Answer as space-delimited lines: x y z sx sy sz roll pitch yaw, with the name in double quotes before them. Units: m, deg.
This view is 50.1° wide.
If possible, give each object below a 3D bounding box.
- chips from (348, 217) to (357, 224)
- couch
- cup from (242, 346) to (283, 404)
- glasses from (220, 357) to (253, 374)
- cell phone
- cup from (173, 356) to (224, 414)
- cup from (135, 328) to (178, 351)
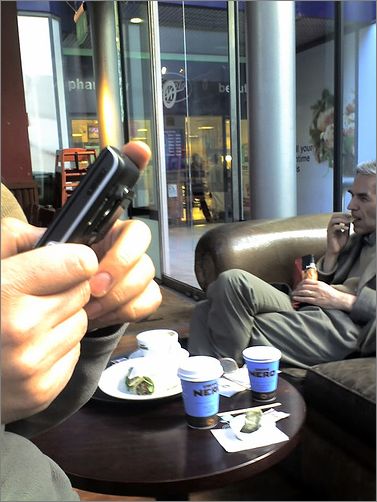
"chips" 0.873 -0.163 2.153 0.039 0.034 0.047 12 11 25
"couch" 0.431 0.238 2.296 0.789 0.640 0.613 -1 51 3
"cup" 0.196 0.308 1.059 0.123 0.131 0.124 -7 7 1
"glasses" 0.144 0.340 1.221 0.070 0.056 0.057 -12 -4 20
"cell phone" -0.128 -0.045 0.442 0.032 0.130 0.072 41 2 9
"cup" 0.019 0.316 0.967 0.123 0.106 0.114 -1 -5 0
"cup" -0.095 0.256 1.196 0.087 0.032 0.068 1 2 9
